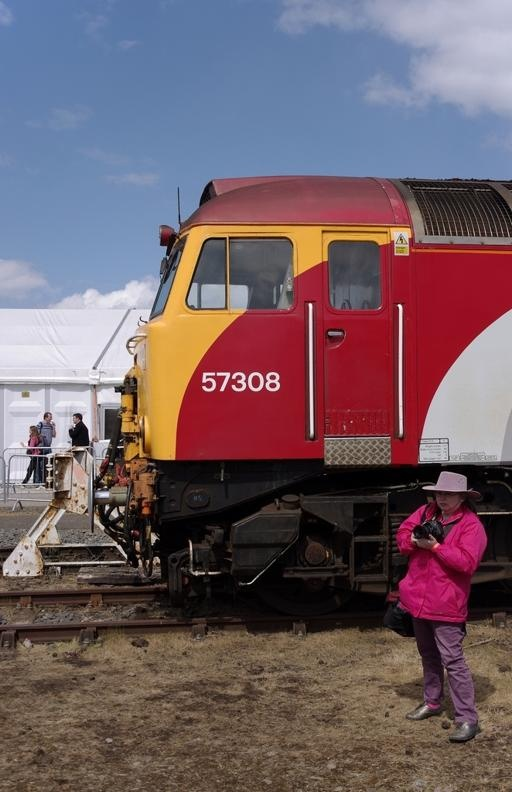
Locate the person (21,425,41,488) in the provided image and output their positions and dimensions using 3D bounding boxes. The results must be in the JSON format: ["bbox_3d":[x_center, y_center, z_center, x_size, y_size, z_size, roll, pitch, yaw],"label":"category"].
[{"bbox_3d":[-4.606,1.234,16.875,0.356,1.115,1.321,-1,2,-15],"label":"person"}]

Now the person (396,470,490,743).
[{"bbox_3d":[1.112,1.254,4.950,0.455,1.600,0.577,-1,2,-24],"label":"person"}]

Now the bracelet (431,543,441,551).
[{"bbox_3d":[1.051,0.885,4.761,0.036,0.047,0.048,2,1,29],"label":"bracelet"}]

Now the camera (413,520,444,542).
[{"bbox_3d":[1.032,0.808,4.825,0.227,0.124,0.104,-2,2,-35],"label":"camera"}]

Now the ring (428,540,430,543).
[{"bbox_3d":[1.015,0.854,4.764,0.015,0.015,0.007,-2,3,10],"label":"ring"}]

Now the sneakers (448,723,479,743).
[{"bbox_3d":[1.216,1.985,4.827,0.218,0.086,0.080,1,-32,-30],"label":"sneakers"}]

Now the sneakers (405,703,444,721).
[{"bbox_3d":[1.058,1.986,5.179,0.247,0.105,0.091,0,-3,-10],"label":"sneakers"}]

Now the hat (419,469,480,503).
[{"bbox_3d":[1.246,0.573,4.977,0.305,0.130,0.357,-9,-21,44],"label":"hat"}]
